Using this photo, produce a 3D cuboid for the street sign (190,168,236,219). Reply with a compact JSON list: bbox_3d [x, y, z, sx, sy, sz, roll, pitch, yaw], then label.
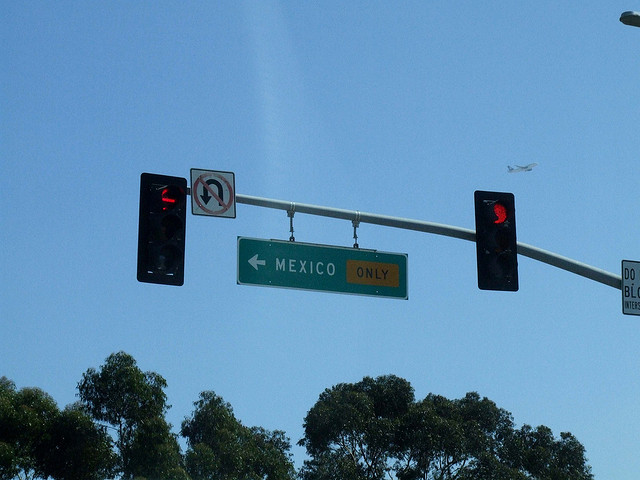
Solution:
[{"bbox_3d":[-6.027,-2.679,75.188,2.511,0.097,3.135,4,-57,3],"label":"street sign"}]
